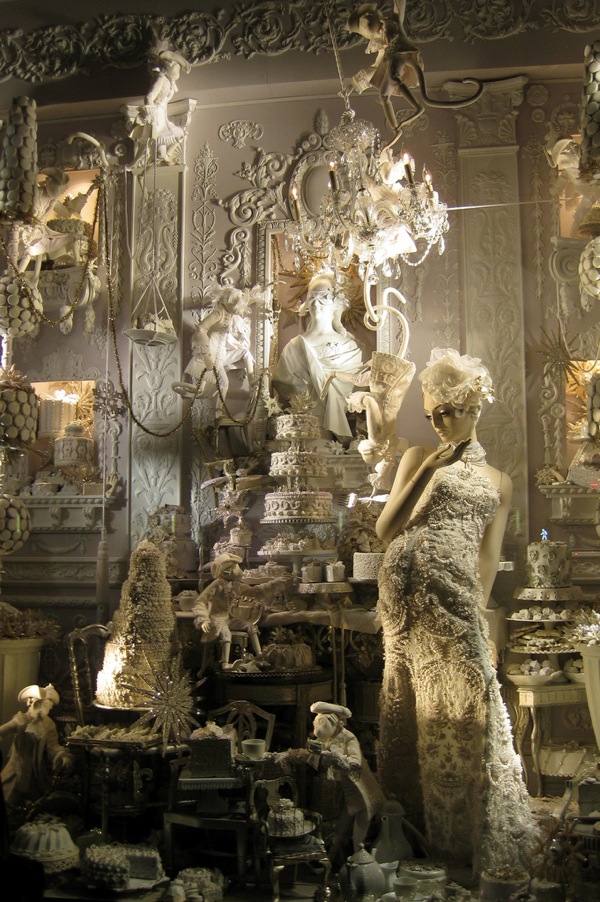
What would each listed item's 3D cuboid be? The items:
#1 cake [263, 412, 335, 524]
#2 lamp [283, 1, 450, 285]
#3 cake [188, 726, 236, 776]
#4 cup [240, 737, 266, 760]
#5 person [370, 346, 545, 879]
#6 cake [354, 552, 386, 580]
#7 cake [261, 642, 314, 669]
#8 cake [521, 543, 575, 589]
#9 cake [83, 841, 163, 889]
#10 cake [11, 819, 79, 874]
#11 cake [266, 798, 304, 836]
[{"bbox_3d":[0.000,0.089,5.349,0.469,0.534,0.435,0,1,9],"label":"cake"},{"bbox_3d":[0.365,-1.775,5.405,0.877,1.749,1.343,0,-3,-1],"label":"lamp"},{"bbox_3d":[-0.361,1.250,4.183,0.176,0.175,0.299,0,-12,3],"label":"cake"},{"bbox_3d":[-0.195,1.248,4.143,0.089,0.053,0.066,-4,-7,7],"label":"cup"},{"bbox_3d":[0.678,0.810,4.136,0.485,1.766,0.800,1,-4,-23],"label":"person"},{"bbox_3d":[0.345,0.574,4.984,0.153,0.100,0.146,-2,-10,22],"label":"cake"},{"bbox_3d":[-0.055,1.009,4.885,0.190,0.071,0.129,-1,-9,12],"label":"cake"},{"bbox_3d":[1.269,0.579,5.063,0.250,0.227,0.233,2,-4,-25],"label":"cake"},{"bbox_3d":[-0.726,1.706,4.056,0.329,0.143,0.203,-2,-4,34],"label":"cake"},{"bbox_3d":[-1.061,1.657,4.161,0.239,0.139,0.221,0,-11,4],"label":"cake"},{"bbox_3d":[-0.048,1.403,3.821,0.131,0.123,0.124,-1,-3,6],"label":"cake"}]
